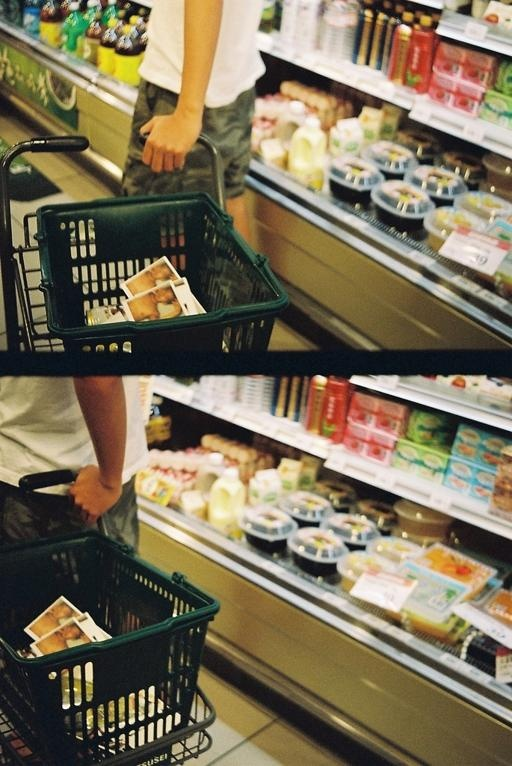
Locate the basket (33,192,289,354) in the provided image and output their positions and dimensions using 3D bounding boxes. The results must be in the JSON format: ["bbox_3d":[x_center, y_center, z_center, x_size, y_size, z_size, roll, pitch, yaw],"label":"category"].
[{"bbox_3d":[-0.161,-0.186,0.998,0.314,0.197,0.433,-7,41,-16],"label":"basket"}]
